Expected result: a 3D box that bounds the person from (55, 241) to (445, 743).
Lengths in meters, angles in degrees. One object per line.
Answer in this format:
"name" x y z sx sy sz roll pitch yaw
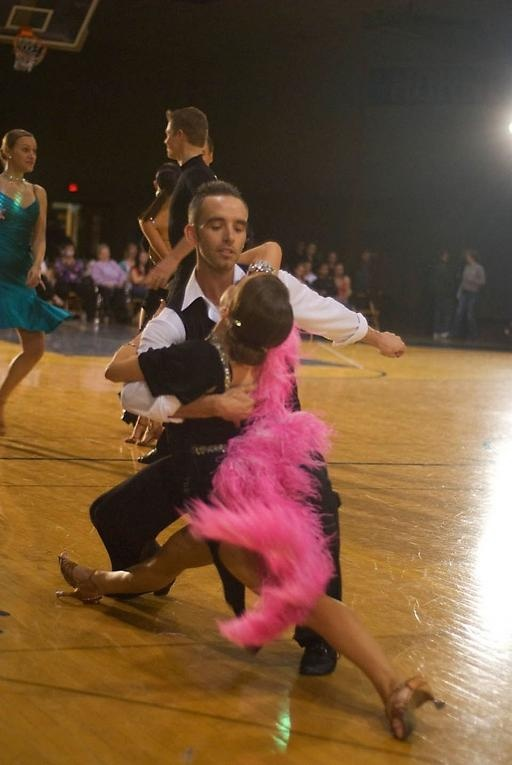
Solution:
"person" -0.001 0.112 1.431 1.142 0.830 0.375 20 16 32
